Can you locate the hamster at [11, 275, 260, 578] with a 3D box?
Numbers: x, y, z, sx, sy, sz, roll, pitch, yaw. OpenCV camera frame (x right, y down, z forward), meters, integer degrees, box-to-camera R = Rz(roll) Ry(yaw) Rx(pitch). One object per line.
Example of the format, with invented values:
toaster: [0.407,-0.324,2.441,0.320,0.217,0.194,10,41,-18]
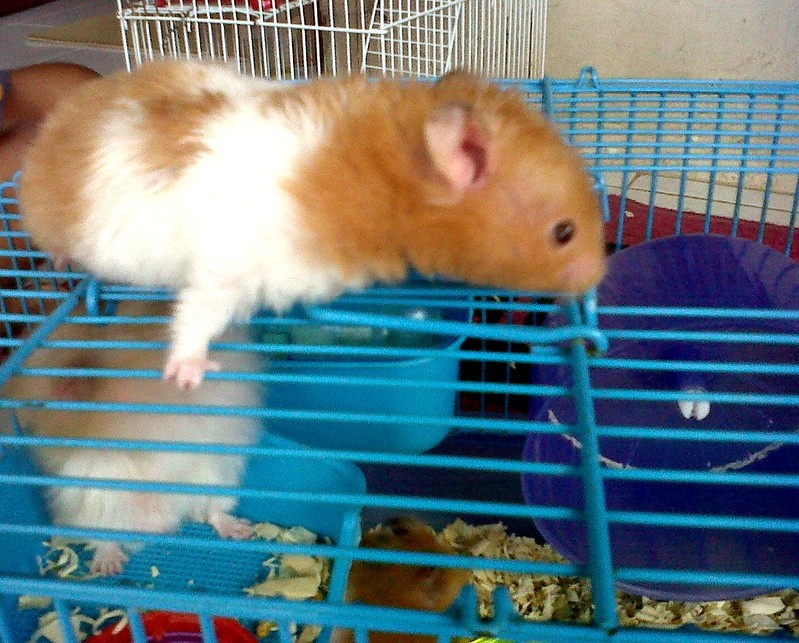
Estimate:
hamster: [-0.439,0.210,1.378,0.269,0.536,0.321,11,25,23]
